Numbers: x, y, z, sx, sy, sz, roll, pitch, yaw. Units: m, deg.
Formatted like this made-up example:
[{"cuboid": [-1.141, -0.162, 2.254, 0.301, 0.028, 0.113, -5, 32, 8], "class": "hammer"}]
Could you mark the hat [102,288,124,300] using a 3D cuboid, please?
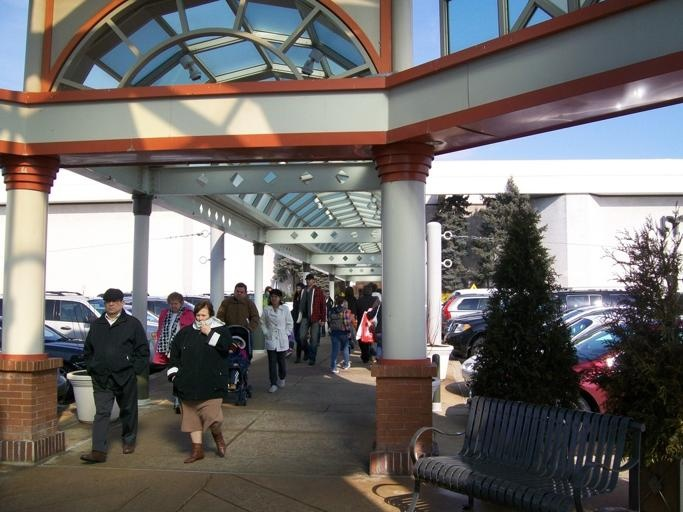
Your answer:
[{"cuboid": [-3.054, 0.522, 7.446, 0.199, 0.157, 0.199, 1, -13, -5], "class": "hat"}]

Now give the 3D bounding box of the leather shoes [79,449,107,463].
[{"cuboid": [-3.209, 2.572, 7.117, 0.365, 0.173, 0.139, 4, -8, -2], "class": "leather shoes"}]

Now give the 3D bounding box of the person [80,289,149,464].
[{"cuboid": [-2.986, 1.551, 7.349, 0.827, 2.215, 0.459, -1, -1, -21], "class": "person"}]

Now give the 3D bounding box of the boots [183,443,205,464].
[{"cuboid": [-1.931, 2.555, 7.167, 0.133, 0.240, 0.348, -6, -11, 32], "class": "boots"}]
